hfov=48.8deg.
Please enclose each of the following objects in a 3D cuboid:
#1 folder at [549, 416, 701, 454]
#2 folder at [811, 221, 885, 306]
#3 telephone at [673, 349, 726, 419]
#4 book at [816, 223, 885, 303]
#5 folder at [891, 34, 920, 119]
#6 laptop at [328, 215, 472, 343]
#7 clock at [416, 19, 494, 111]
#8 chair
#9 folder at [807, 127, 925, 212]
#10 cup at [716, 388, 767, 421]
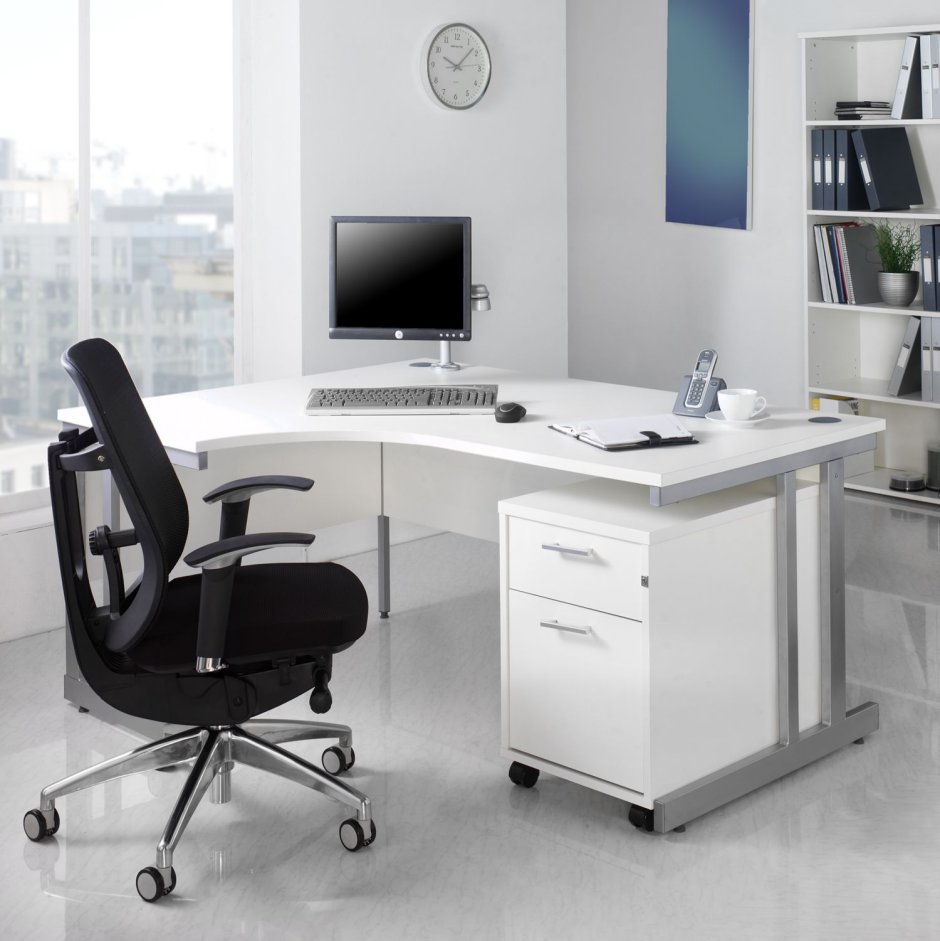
[{"bbox_3d":[0.348,-0.081,2.343,0.339,0.042,0.255,-1,10,5],"label":"folder"},{"bbox_3d":[1.724,-0.952,4.744,0.339,0.379,0.090,7,16,39],"label":"folder"},{"bbox_3d":[0.578,-0.209,2.588,0.105,0.170,0.101,8,1,39],"label":"telephone"},{"bbox_3d":[1.719,-0.931,4.744,0.328,0.373,0.088,1,-9,-24],"label":"book"},{"bbox_3d":[1.852,-1.656,4.396,0.114,0.346,0.081,3,9,25],"label":"folder"},{"bbox_3d":[-0.210,-0.596,3.225,0.334,0.317,0.032,0,9,3],"label":"laptop"},{"bbox_3d":[-0.051,-1.746,4.517,0.077,0.354,0.324,5,9,38],"label":"clock"},{"bbox_3d":[-0.510,0.270,2.255,0.631,1.011,0.673,4,8,26],"label":"chair"},{"bbox_3d":[1.795,-1.307,4.685,0.360,0.527,0.497,3,8,43],"label":"folder"},{"bbox_3d":[0.654,-0.159,2.489,0.097,0.071,0.083,-9,14,-19],"label":"cup"}]
